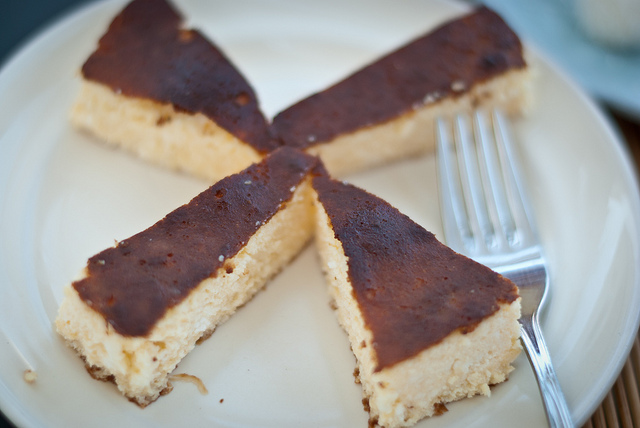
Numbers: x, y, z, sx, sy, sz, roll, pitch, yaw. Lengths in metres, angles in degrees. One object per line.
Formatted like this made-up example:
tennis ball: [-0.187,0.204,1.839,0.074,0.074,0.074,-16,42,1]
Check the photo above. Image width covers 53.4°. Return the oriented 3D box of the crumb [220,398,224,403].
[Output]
crumb: [-0.332,0.633,2.150,0.009,0.002,0.009,-19,71,-16]

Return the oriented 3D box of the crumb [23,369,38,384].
crumb: [-0.953,0.533,2.094,0.048,0.009,0.042,36,62,18]
